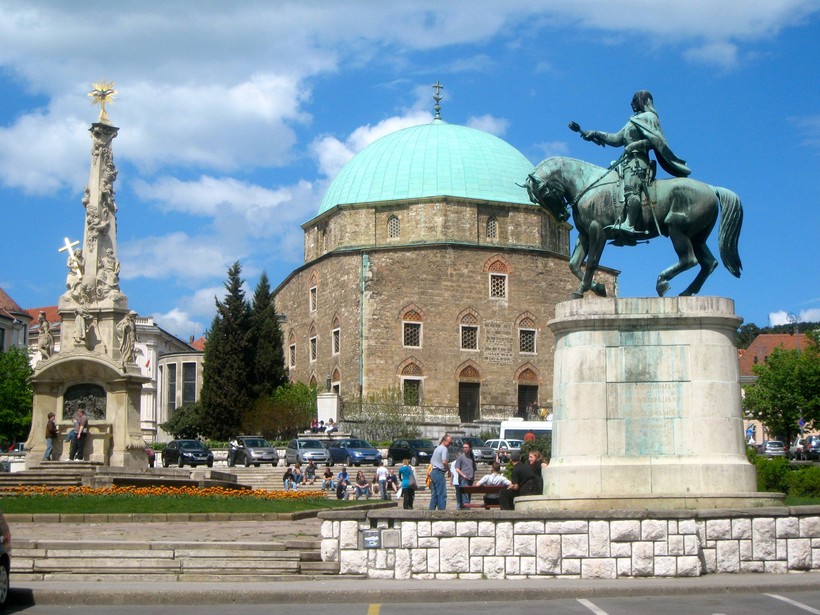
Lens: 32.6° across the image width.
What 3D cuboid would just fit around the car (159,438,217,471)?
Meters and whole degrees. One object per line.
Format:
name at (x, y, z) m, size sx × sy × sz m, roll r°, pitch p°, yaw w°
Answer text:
car at (-8.847, 5.831, 55.783) m, size 0.946 × 0.707 × 2.101 m, roll 5°, pitch -13°, yaw -30°

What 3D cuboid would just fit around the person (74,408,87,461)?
person at (-9.503, 3.670, 40.780) m, size 0.338 × 1.564 × 1.294 m, roll 2°, pitch -8°, yaw -10°

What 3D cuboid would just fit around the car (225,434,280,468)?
car at (-6.226, 5.854, 56.728) m, size 1.082 × 0.918 × 1.996 m, roll 4°, pitch -13°, yaw -27°

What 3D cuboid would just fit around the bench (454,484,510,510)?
bench at (1.642, 4.219, 31.248) m, size 1.116 × 0.497 × 3.386 m, roll 0°, pitch -8°, yaw 0°

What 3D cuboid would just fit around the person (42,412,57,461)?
person at (-10.411, 3.756, 40.857) m, size 0.367 × 1.446 × 1.392 m, roll 2°, pitch -8°, yaw -14°

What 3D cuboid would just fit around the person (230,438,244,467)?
person at (-7.098, 5.988, 57.542) m, size 0.770 × 0.947 × 0.974 m, roll 4°, pitch -13°, yaw -20°

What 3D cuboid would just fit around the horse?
horse at (4.680, -1.701, 29.018) m, size 4.135 × 3.164 × 0.959 m, roll -3°, pitch -8°, yaw 19°
